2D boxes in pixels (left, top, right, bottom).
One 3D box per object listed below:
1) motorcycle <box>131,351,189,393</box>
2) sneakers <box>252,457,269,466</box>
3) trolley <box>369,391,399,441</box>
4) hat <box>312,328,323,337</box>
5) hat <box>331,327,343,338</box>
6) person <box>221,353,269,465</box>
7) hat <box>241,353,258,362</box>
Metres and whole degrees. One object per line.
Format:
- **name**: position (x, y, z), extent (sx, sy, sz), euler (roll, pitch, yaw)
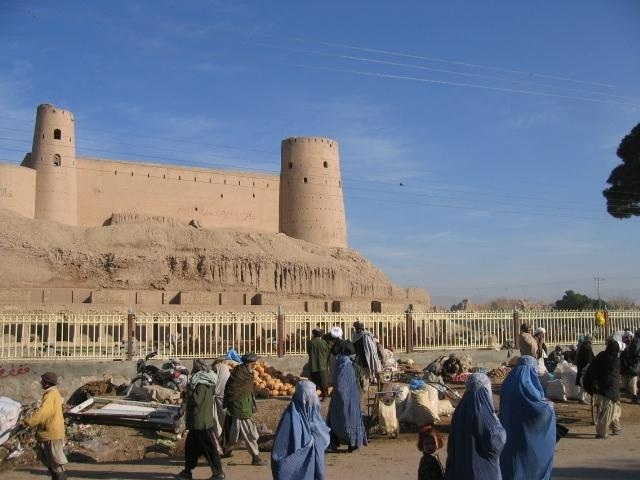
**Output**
- **motorcycle**: position (-2.716, 2.318, 11.039), extent (1.128, 0.691, 0.698), euler (8, -33, -2)
- **sneakers**: position (-0.709, 2.622, 7.504), extent (0.195, 0.135, 0.089), euler (-1, -2, -10)
- **trolley**: position (0.890, 2.402, 8.747), extent (0.470, 0.532, 0.490), euler (-11, -19, 40)
- **hat**: position (-0.044, 1.471, 10.016), extent (0.143, 0.099, 0.124), euler (1, 3, 11)
- **hat**: position (0.269, 1.509, 10.283), extent (0.163, 0.079, 0.216), euler (6, -4, 5)
- **person**: position (-0.935, 2.045, 7.628), extent (0.468, 1.288, 0.625), euler (0, -11, -9)
- **hat**: position (-0.833, 1.405, 7.559), extent (0.113, 0.073, 0.129), euler (0, -3, 8)
